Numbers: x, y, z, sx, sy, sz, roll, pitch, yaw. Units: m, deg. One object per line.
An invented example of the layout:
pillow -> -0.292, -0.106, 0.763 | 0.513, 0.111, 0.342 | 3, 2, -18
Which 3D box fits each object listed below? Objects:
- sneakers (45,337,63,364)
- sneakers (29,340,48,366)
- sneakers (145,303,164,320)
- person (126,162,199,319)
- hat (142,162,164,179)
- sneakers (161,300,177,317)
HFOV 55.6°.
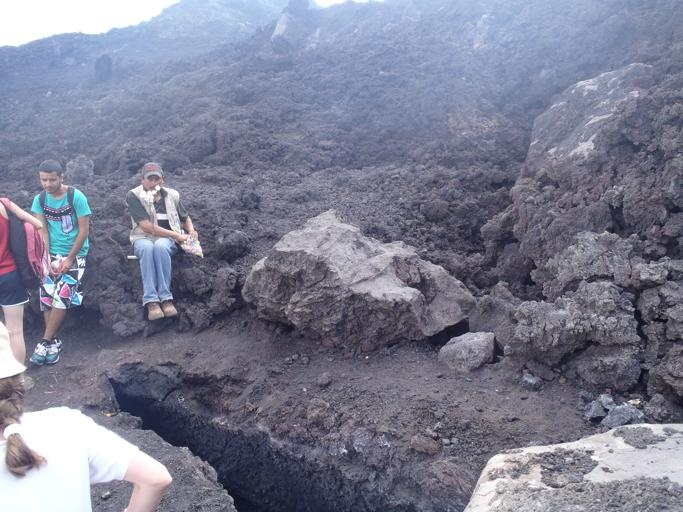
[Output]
sneakers -> -4.136, 1.370, 9.286 | 0.121, 0.147, 0.373 | -1, 37, -24
sneakers -> -4.318, 1.391, 9.174 | 0.165, 0.168, 0.387 | 22, 21, -37
sneakers -> -2.760, 0.837, 9.541 | 0.202, 0.225, 0.330 | -14, -14, -26
person -> -2.608, -0.169, 9.548 | 0.934, 2.344, 0.745 | -9, 16, -18
hat -> -2.770, -1.232, 9.417 | 0.253, 0.209, 0.219 | -5, 16, -3
sneakers -> -2.539, 0.784, 9.515 | 0.208, 0.258, 0.169 | -10, 17, -20
